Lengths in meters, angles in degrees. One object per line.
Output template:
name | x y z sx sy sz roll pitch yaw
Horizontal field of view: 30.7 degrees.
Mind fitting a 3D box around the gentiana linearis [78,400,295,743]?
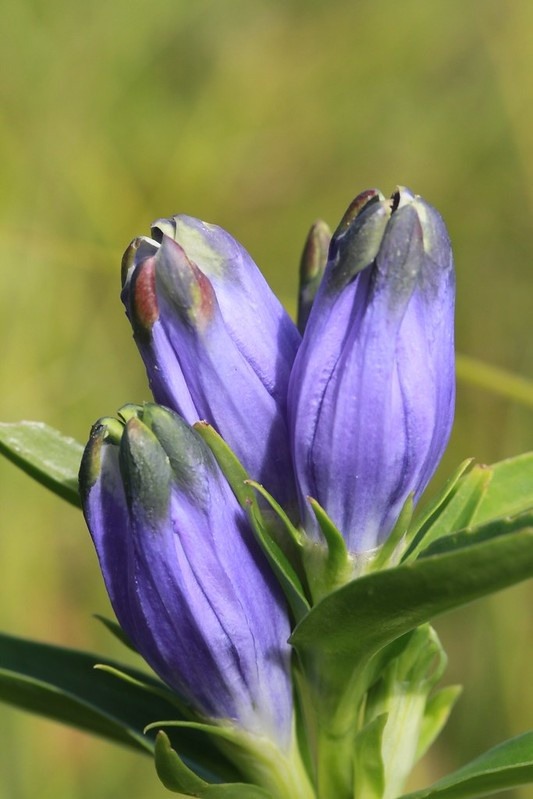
gentiana linearis | -0.044 0.129 0.765 0.106 0.296 0.106 -25 6 7

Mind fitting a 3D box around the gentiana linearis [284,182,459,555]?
gentiana linearis | 0.082 -0.019 0.717 0.154 0.243 0.079 -19 27 -8
